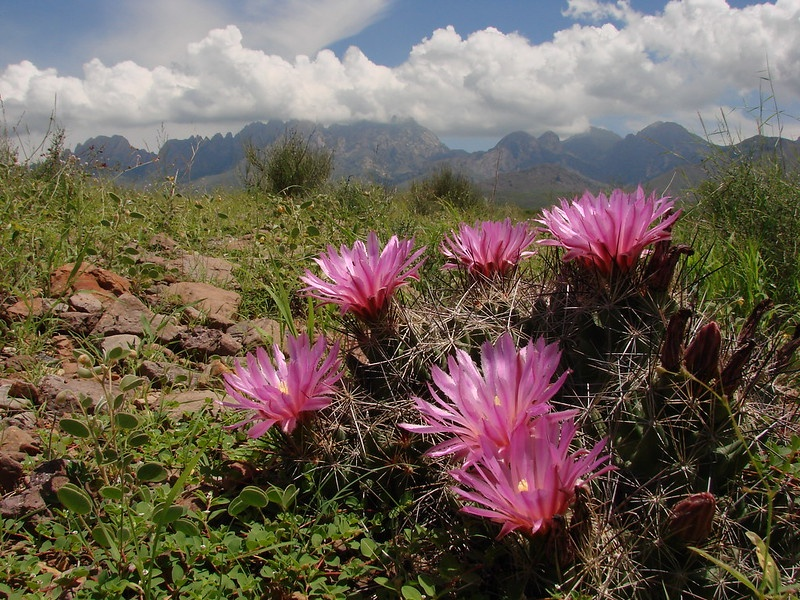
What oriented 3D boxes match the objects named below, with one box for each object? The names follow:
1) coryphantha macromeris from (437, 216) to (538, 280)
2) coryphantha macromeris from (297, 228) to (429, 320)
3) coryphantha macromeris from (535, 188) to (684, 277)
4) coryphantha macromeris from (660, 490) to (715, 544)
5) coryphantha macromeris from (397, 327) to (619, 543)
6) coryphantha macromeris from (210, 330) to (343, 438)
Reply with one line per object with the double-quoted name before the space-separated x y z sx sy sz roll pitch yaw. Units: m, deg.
"coryphantha macromeris" 0.437 -0.226 2.702 0.468 0.314 0.493 -6 6 -35
"coryphantha macromeris" -0.137 -0.040 2.348 0.526 0.337 0.581 -5 -15 -41
"coryphantha macromeris" 0.800 -0.280 2.121 0.399 0.271 0.402 -21 17 -14
"coryphantha macromeris" 0.909 0.676 1.707 0.123 0.201 0.062 9 11 24
"coryphantha macromeris" 0.333 0.422 1.706 0.421 0.586 0.518 -2 12 -36
"coryphantha macromeris" -0.415 0.374 2.153 0.458 0.268 0.465 -25 2 -28
